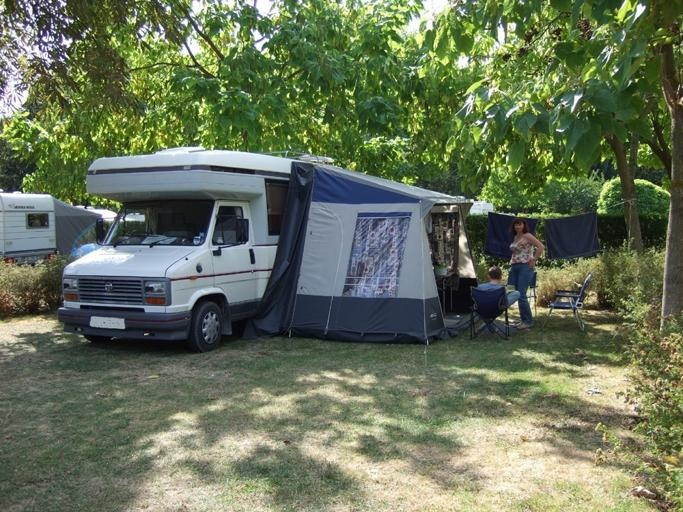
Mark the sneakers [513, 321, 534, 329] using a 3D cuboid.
[{"bbox_3d":[3.491,1.344,10.831,0.391,0.177,0.148,5,-1,-9],"label":"sneakers"}]

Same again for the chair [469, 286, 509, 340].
[{"bbox_3d":[2.632,1.011,10.014,0.765,1.034,0.783,-1,5,33],"label":"chair"}]

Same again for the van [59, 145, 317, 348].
[{"bbox_3d":[-2.484,-0.202,11.260,2.655,3.224,5.639,0,1,19],"label":"van"}]

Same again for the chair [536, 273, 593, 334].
[{"bbox_3d":[4.387,0.845,10.932,0.821,1.041,0.710,2,7,19],"label":"chair"}]

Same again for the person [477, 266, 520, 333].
[{"bbox_3d":[2.889,0.721,10.345,0.749,1.311,0.828,-5,23,-2],"label":"person"}]

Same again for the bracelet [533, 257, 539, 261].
[{"bbox_3d":[3.665,0.048,10.594,0.052,0.049,0.041,-29,21,9],"label":"bracelet"}]

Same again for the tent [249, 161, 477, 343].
[{"bbox_3d":[0.986,-0.247,11.462,3.591,3.027,4.239,3,7,22],"label":"tent"}]
